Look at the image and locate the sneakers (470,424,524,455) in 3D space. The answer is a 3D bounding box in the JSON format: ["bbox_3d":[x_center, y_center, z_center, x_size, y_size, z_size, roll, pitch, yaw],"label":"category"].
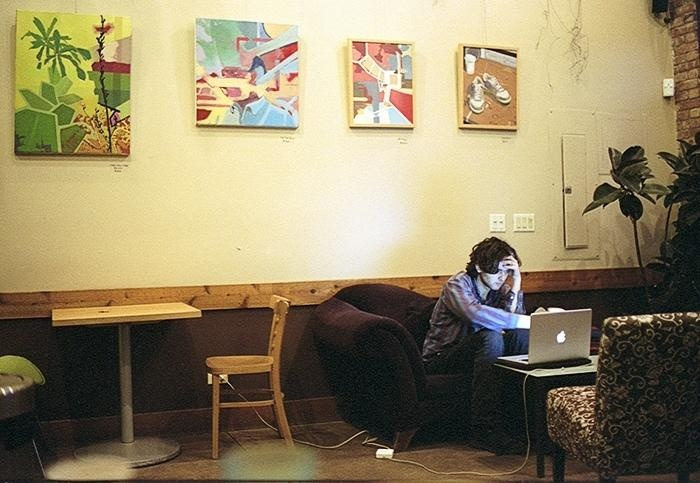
[{"bbox_3d":[1.052,1.453,3.916,0.211,0.112,0.293,2,2,-28],"label":"sneakers"}]

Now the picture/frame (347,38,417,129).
[{"bbox_3d":[0.233,-1.347,4.569,0.823,0.931,0.035,-2,6,-12],"label":"picture/frame"}]

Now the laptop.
[{"bbox_3d":[1.341,0.661,3.766,0.525,0.342,0.363,0,-1,-21],"label":"laptop"}]

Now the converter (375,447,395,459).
[{"bbox_3d":[0.243,1.504,3.827,0.131,0.034,0.114,0,4,9],"label":"converter"}]

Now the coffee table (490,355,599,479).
[{"bbox_3d":[1.233,1.208,3.848,0.823,0.737,0.794,0,-2,-15],"label":"coffee table"}]

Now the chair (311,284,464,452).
[{"bbox_3d":[0.310,0.951,4.385,1.288,1.017,1.034,8,-15,-33],"label":"chair"}]

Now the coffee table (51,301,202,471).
[{"bbox_3d":[-1.672,1.027,4.074,1.133,1.007,1.097,-1,-7,-1],"label":"coffee table"}]

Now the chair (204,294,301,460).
[{"bbox_3d":[-0.766,0.979,4.057,0.705,1.008,0.614,3,-4,-22],"label":"chair"}]
